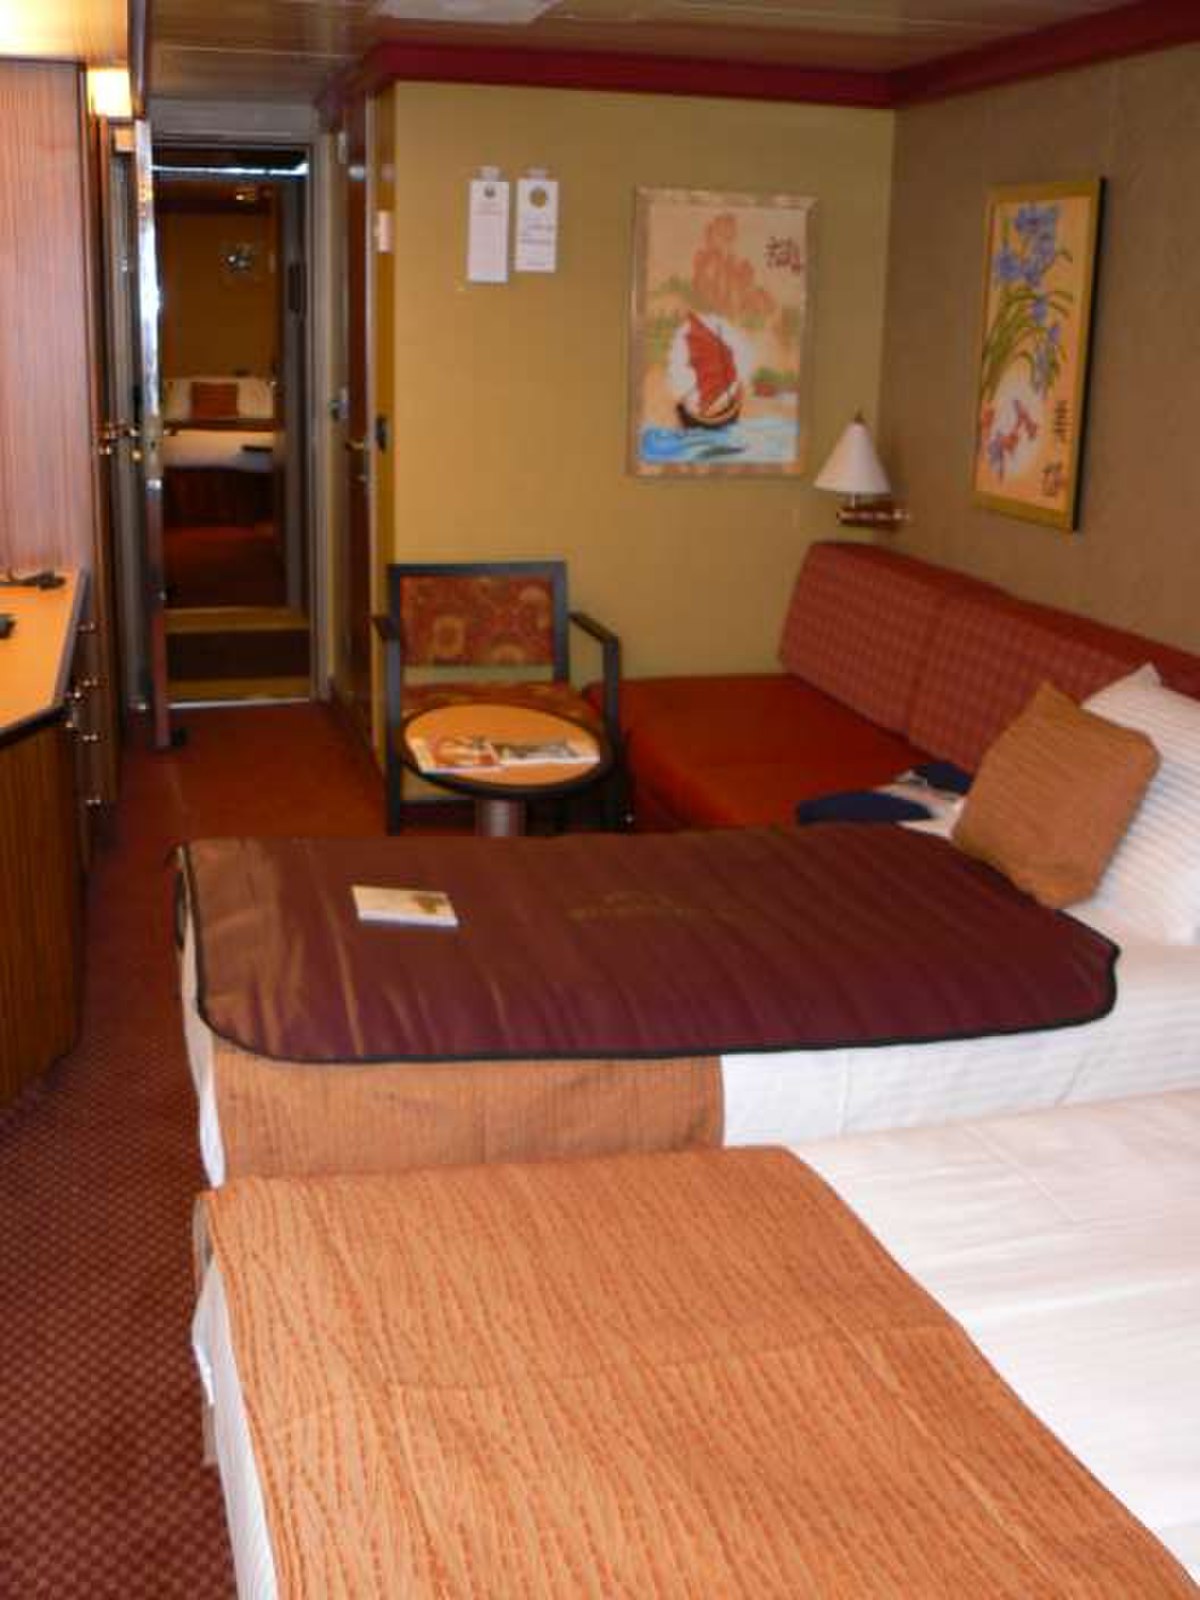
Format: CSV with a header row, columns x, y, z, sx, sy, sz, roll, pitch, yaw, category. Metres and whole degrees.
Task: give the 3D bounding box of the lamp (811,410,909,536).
x,y,z,sx,sy,sz,roll,pitch,yaw,category
0.976,-1.215,4.615,0.441,0.515,0.315,-1,10,-11,lamp
